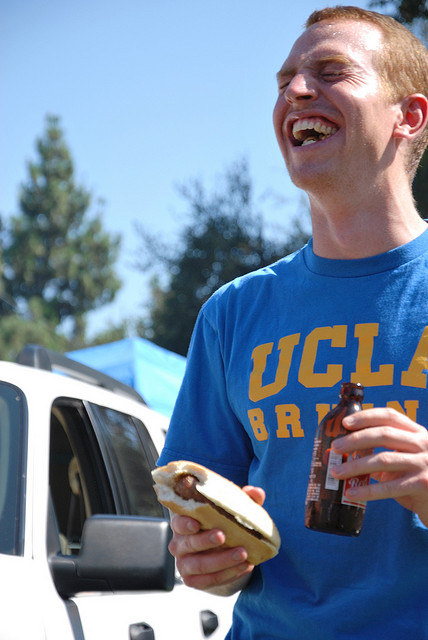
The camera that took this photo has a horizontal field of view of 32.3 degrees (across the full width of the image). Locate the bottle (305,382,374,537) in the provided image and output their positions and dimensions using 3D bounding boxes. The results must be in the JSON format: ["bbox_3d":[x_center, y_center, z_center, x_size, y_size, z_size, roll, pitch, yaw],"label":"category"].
[{"bbox_3d":[0.232,0.270,1.408,0.140,0.242,0.114,-19,-7,36],"label":"bottle"}]

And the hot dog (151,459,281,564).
[{"bbox_3d":[0.029,0.386,1.522,0.105,0.283,0.162,-58,26,-11],"label":"hot dog"}]
